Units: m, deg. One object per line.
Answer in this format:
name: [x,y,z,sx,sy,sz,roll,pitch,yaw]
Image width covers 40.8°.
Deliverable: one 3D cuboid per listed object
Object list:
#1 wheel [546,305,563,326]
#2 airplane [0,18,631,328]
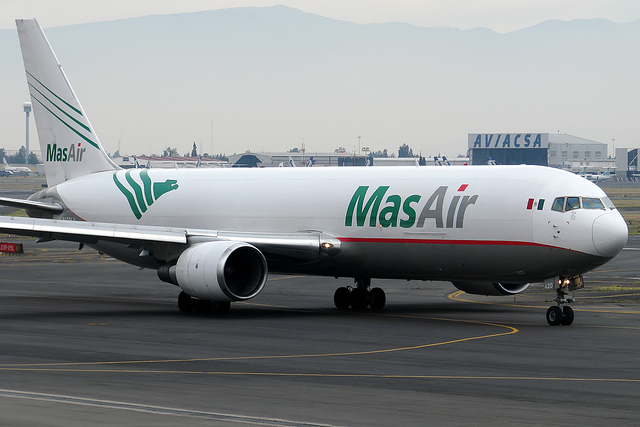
wheel: [8.731,3.824,31.949,0.444,0.691,0.932,4,1,-26]
airplane: [-1.250,0.174,37.184,23.848,6.355,19.806,2,2,41]
